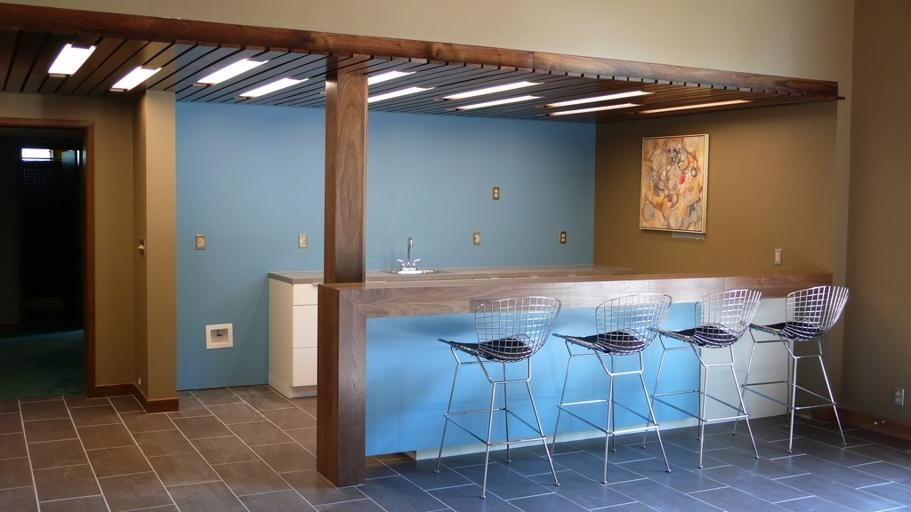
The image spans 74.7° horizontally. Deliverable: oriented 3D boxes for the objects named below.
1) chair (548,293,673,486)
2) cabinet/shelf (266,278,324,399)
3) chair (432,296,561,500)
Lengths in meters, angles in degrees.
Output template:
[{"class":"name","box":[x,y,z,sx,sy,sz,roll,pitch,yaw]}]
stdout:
[{"class":"chair","box":[1.673,1.165,6.098,1.270,1.691,0.790,-3,11,-21]},{"class":"cabinet/shelf","box":[-1.987,0.994,7.521,0.454,1.502,1.063,-8,14,-41]},{"class":"chair","box":[0.414,1.208,5.813,1.166,1.693,0.811,0,10,-2]}]
